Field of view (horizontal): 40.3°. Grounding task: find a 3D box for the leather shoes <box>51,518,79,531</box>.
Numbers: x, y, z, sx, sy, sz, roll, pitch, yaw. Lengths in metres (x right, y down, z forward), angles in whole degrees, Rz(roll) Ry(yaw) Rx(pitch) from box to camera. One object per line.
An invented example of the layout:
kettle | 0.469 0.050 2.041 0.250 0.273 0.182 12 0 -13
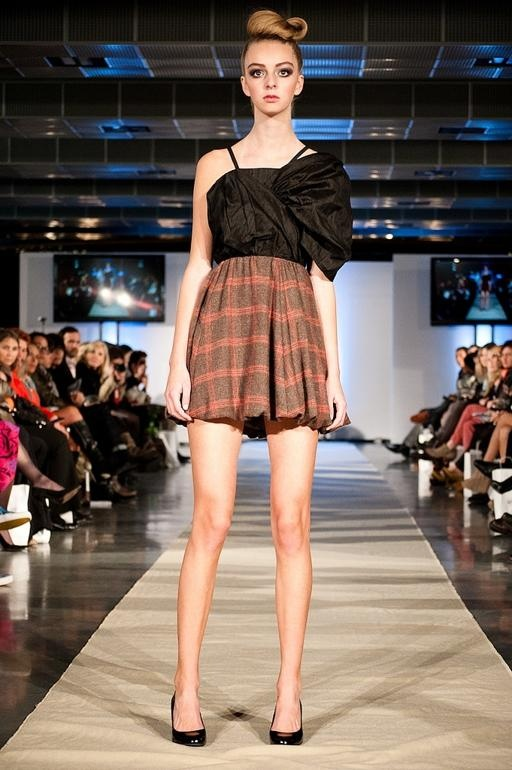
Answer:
leather shoes | -1.093 0.797 3.960 0.168 0.059 0.052 -4 -5 23

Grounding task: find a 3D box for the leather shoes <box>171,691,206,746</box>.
leather shoes | -0.126 0.613 1.269 0.040 0.041 0.112 3 -8 -14

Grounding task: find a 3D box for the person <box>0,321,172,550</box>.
person | -1.184 0.422 4.683 1.244 1.391 0.622 -25 -16 29

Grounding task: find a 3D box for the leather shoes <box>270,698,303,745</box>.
leather shoes | 0.054 0.608 1.264 0.060 0.052 0.110 -1 -4 1

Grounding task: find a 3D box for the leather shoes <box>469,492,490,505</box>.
leather shoes | 1.613 0.821 5.029 0.129 0.108 0.074 5 -9 12

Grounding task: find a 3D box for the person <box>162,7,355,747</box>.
person | 0.001 -0.035 1.297 0.357 1.347 0.284 -1 -4 6
